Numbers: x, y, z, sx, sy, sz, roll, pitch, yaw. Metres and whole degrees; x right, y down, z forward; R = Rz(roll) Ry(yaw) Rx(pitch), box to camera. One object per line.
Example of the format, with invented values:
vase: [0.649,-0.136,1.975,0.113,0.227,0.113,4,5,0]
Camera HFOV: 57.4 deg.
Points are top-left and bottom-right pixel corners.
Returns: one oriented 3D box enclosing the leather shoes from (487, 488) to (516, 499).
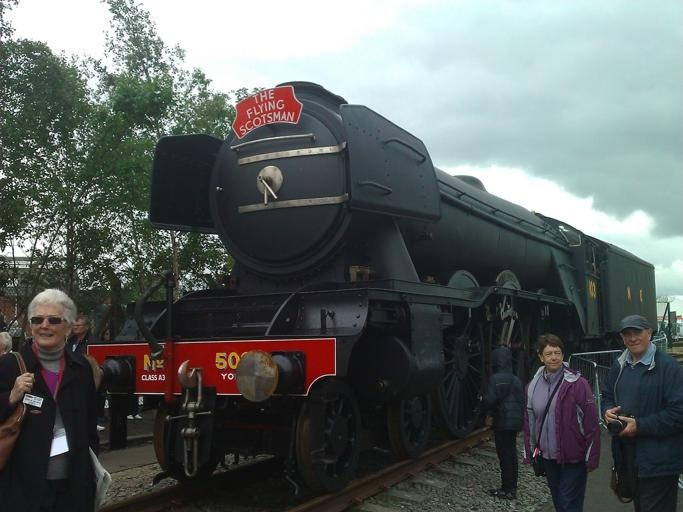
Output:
leather shoes: [1.797,2.686,7.055,0.306,0.144,0.117,-6,-3,24]

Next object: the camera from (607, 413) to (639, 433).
camera: [2.359,1.415,5.255,0.138,0.149,0.150,-24,-15,29]
